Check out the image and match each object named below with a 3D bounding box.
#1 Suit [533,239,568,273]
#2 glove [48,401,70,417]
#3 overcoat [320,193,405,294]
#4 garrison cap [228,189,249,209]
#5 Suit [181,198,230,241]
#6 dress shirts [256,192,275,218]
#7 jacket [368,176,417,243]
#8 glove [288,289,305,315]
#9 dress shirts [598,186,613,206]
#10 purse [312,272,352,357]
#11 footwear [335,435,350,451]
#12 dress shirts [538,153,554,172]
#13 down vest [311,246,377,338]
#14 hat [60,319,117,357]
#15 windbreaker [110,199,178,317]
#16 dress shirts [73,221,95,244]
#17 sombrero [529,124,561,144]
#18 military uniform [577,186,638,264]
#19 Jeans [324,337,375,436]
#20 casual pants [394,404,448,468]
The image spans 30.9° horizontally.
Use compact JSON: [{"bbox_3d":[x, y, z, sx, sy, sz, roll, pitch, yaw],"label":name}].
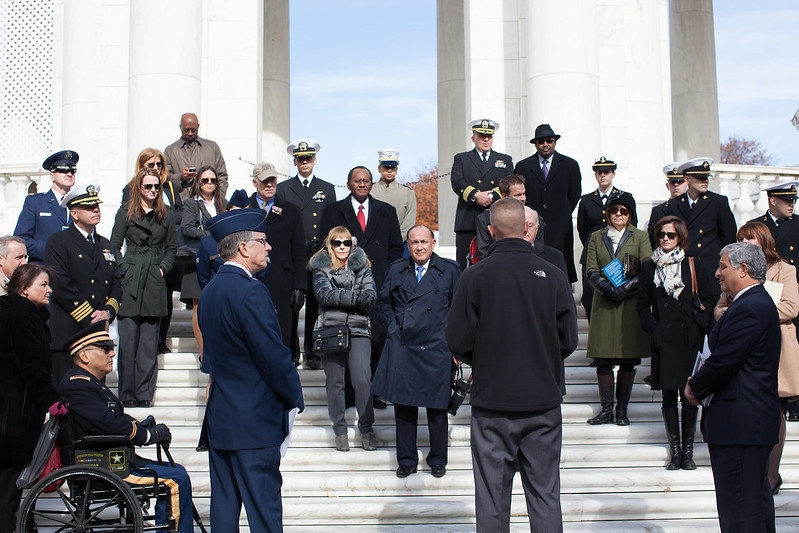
[{"bbox_3d":[2.296,-0.162,21.889,0.374,0.618,0.681,4,5,31],"label":"Suit"},{"bbox_3d":[-4.598,1.973,19.784,0.188,0.234,0.180,36,19,-34],"label":"glove"},{"bbox_3d":[-0.566,-0.281,22.377,1.545,2.055,0.703,-1,-5,-10],"label":"overcoat"},{"bbox_3d":[-2.447,-1.023,22.411,0.343,0.280,0.478,2,-6,-9],"label":"garrison cap"},{"bbox_3d":[-2.882,-0.674,21.728,0.735,0.697,0.420,1,-1,-36],"label":"Suit"},{"bbox_3d":[-2.107,-0.967,23.012,0.360,0.497,0.197,1,-4,-2],"label":"dress shirts"},{"bbox_3d":[-0.171,-0.892,24.512,0.920,1.193,0.641,2,-5,1],"label":"jacket"},{"bbox_3d":[-1.547,0.545,22.314,0.247,0.276,0.319,4,-2,-2],"label":"glove"},{"bbox_3d":[3.376,-1.147,23.795,0.206,0.282,0.102,-3,-48,18],"label":"dress shirts"},{"bbox_3d":[-0.941,0.885,21.745,0.848,0.783,0.389,-5,-28,11],"label":"purse"},{"bbox_3d":[-0.834,2.674,21.700,0.169,0.228,0.263,2,-11,-28],"label":"footwear"},{"bbox_3d":[2.386,-1.675,23.691,0.218,0.303,0.110,0,-7,8],"label":"dress shirts"},{"bbox_3d":[-0.821,0.564,22.167,0.952,1.971,0.735,2,22,6],"label":"down vest"},{"bbox_3d":[-4.260,1.013,20.190,0.568,0.283,0.487,-12,-3,11],"label":"hat"},{"bbox_3d":[-3.935,-0.034,22.482,1.037,1.900,0.623,2,6,-25],"label":"windbreaker"},{"bbox_3d":[-4.719,-0.489,22.024,0.258,0.178,0.346,14,-3,-35],"label":"dress shirts"},{"bbox_3d":[2.457,-2.212,24.223,0.453,0.191,0.508,-6,-7,9],"label":"sombrero"},{"bbox_3d":[3.279,-0.619,22.906,1.181,1.630,0.851,0,-12,12],"label":"military uniform"},{"bbox_3d":[-0.761,1.797,21.951,0.743,1.707,0.484,-2,12,-6],"label":"Jeans"},{"bbox_3d":[0.320,2.459,21.395,0.712,1.370,0.373,-2,-41,1],"label":"casual pants"}]
